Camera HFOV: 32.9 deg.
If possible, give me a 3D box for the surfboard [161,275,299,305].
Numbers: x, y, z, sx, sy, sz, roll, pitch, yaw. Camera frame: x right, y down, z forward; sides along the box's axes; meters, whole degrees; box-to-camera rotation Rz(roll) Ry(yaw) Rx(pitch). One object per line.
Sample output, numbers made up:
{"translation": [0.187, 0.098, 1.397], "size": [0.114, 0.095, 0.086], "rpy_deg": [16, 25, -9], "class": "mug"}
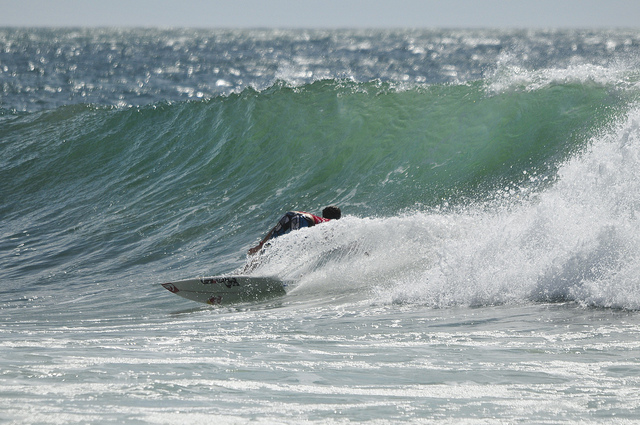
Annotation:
{"translation": [-1.146, 1.963, 27.456], "size": [5.411, 0.474, 0.933], "rpy_deg": [0, 31, -3], "class": "surfboard"}
